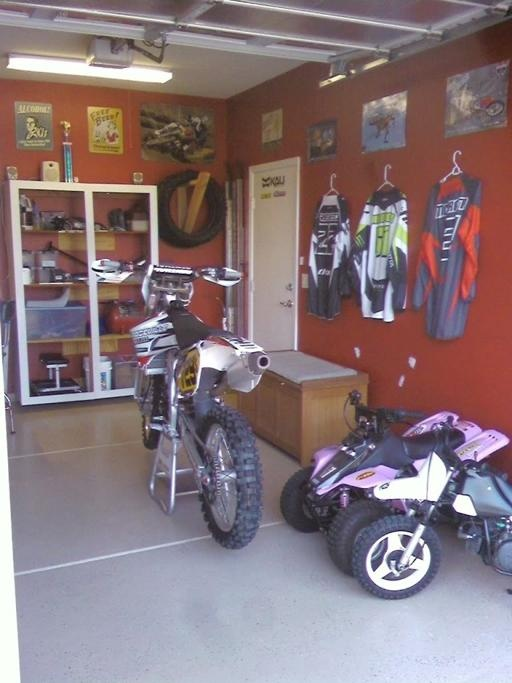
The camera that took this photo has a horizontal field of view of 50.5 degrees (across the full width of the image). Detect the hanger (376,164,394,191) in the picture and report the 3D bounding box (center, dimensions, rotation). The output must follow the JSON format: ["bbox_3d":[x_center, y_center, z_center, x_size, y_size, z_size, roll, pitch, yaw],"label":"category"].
[{"bbox_3d":[0.883,-1.117,3.691,0.006,0.204,0.190,-13,23,-28],"label":"hanger"}]

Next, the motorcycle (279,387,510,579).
[{"bbox_3d":[0.578,0.573,2.396,1.056,0.660,0.669,1,6,-16],"label":"motorcycle"}]

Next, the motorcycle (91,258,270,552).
[{"bbox_3d":[-0.340,0.289,2.653,0.582,1.367,1.355,-4,9,-29],"label":"motorcycle"}]

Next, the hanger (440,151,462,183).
[{"bbox_3d":[1.128,-1.008,3.120,0.045,0.177,0.156,-2,8,-15],"label":"hanger"}]

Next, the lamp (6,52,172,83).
[{"bbox_3d":[-1.345,-2.239,4.413,1.290,0.128,0.464,-2,7,-15],"label":"lamp"}]
